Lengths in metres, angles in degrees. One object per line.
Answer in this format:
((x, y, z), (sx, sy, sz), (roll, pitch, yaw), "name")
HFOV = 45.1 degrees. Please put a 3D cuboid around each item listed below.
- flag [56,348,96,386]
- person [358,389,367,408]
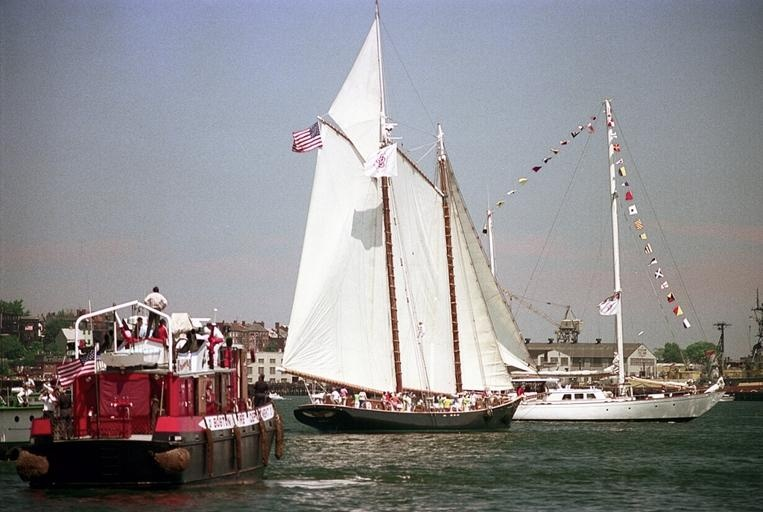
((-14.528, 5.389, 43.603), (1.715, 1.761, 0.852), (3, -10, -18), "flag")
((-1.473, 11.188, 70.205), (0.628, 1.206, 1.058), (0, -10, -1), "person")
